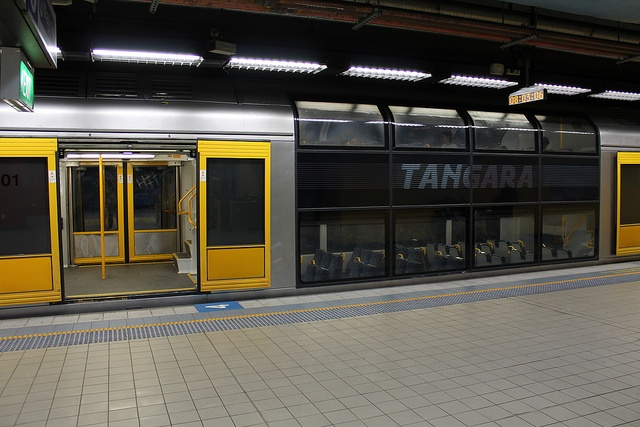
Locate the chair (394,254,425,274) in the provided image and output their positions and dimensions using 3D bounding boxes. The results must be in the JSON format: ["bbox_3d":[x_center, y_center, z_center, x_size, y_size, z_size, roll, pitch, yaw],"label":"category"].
[{"bbox_3d":[2.066,1.208,10.192,0.899,0.496,0.465,1,-3,-26],"label":"chair"}]

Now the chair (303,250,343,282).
[{"bbox_3d":[-0.014,1.177,9.800,0.965,0.742,0.739,13,-2,-29],"label":"chair"}]
